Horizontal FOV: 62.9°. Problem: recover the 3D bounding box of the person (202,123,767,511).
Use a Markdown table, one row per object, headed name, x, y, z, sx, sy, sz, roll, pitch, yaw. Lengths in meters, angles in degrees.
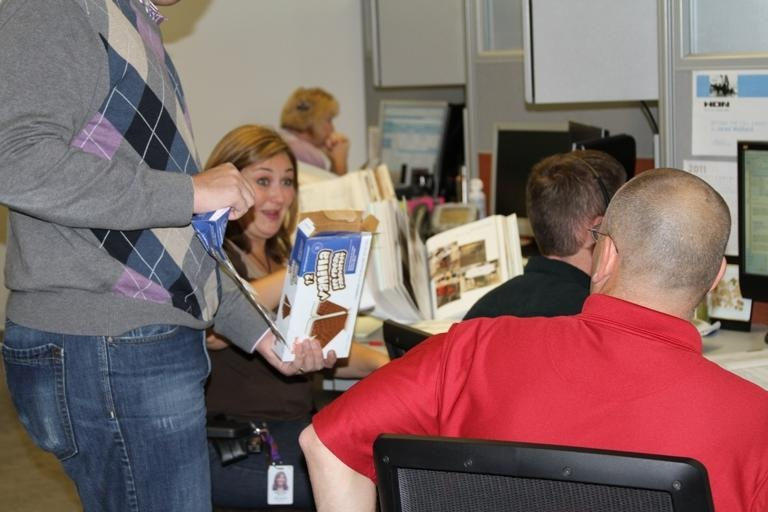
| name | x | y | z | sx | sy | sz | roll | pitch | yaw |
| --- | --- | --- | --- | --- | --- | --- | --- | --- | --- |
| person | 0.201 | 0.127 | 1.435 | 0.832 | 0.292 | 1.224 | 1 | 4 | 6 |
